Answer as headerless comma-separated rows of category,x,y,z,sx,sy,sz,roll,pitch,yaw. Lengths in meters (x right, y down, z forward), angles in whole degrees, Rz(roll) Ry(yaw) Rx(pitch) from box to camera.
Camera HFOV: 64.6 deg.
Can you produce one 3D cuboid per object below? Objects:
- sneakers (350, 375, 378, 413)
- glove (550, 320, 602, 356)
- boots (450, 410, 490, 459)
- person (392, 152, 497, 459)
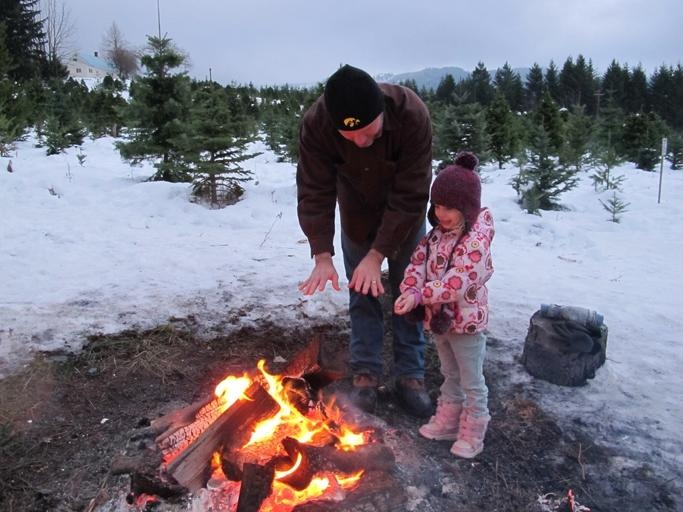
sneakers,0.200,1.238,4.795,0.185,0.143,0.244,26,17,-25
glove,2.302,0.801,5.230,0.304,0.135,0.325,11,6,-3
boots,1.056,1.478,4.407,0.183,0.373,0.513,3,-8,30
person,0.859,0.397,4.425,0.784,2.380,0.688,4,17,18
